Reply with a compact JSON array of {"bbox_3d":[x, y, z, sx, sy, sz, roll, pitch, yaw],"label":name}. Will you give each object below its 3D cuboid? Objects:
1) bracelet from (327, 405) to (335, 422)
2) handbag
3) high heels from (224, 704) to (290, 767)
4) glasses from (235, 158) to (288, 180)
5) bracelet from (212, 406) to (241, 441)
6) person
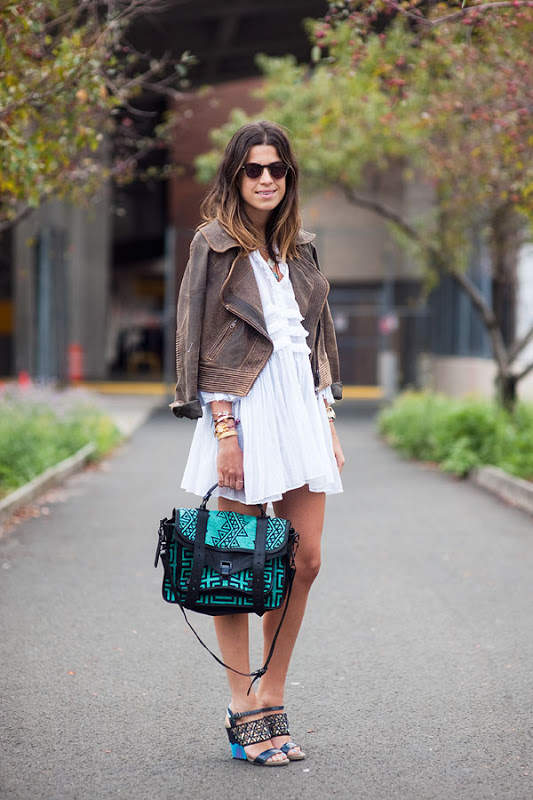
[{"bbox_3d":[0.198,0.042,2.711,0.015,0.039,0.030,-10,-18,25],"label":"bracelet"},{"bbox_3d":[-0.105,0.429,2.408,0.374,0.366,0.202,-1,2,1],"label":"handbag"},{"bbox_3d":[-0.013,0.966,2.576,0.143,0.157,0.246,5,-13,-44],"label":"high heels"},{"bbox_3d":[0.003,-0.642,2.500,0.145,0.056,0.056,-1,2,-16],"label":"glasses"},{"bbox_3d":[-0.112,0.067,2.396,0.067,0.082,0.046,-4,-4,1],"label":"bracelet"},{"bbox_3d":[-0.025,0.143,2.578,0.610,1.764,0.462,-3,2,-34],"label":"person"}]
